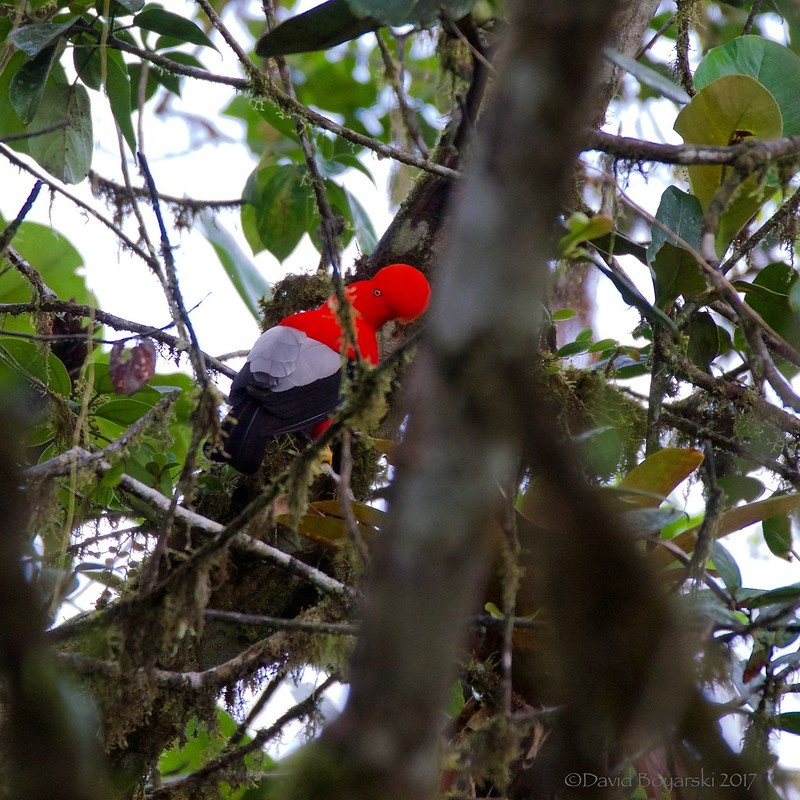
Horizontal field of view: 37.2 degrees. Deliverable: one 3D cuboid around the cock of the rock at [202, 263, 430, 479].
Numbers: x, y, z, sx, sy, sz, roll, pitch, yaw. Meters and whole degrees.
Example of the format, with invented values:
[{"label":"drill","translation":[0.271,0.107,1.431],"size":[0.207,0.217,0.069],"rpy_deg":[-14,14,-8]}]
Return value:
[{"label":"cock of the rock","translation":[-0.154,-0.077,2.290],"size":[0.353,0.158,0.441],"rpy_deg":[4,-77,-32]}]
